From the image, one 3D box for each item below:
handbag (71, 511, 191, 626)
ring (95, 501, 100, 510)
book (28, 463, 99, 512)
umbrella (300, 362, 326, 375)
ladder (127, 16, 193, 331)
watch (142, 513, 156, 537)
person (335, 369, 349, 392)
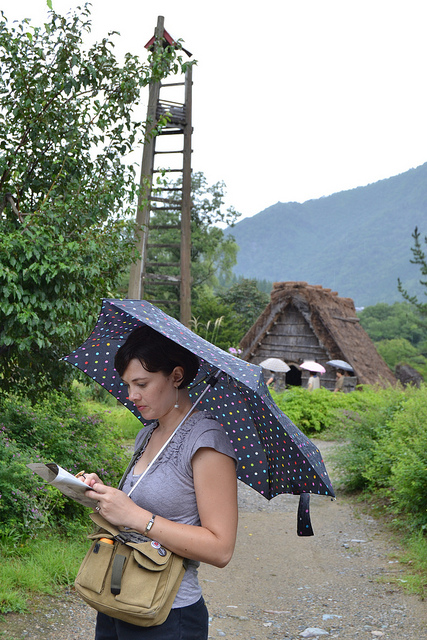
[{"bbox_3d":[-0.251,0.707,1.691,0.309,0.330,0.194,13,-35,7],"label":"handbag"},{"bbox_3d":[-0.347,0.564,1.722,0.012,0.016,0.007,7,-3,43],"label":"ring"},{"bbox_3d":[-0.416,0.460,1.622,0.159,0.053,0.226,21,-17,32],"label":"book"},{"bbox_3d":[3.111,1.434,17.471,0.447,0.137,0.432,19,-9,-3],"label":"umbrella"},{"bbox_3d":[-1.216,-3.468,14.749,1.454,7.133,1.499,9,21,7],"label":"ladder"},{"bbox_3d":[-0.178,0.584,1.628,0.045,0.054,0.024,3,-9,-41],"label":"watch"},{"bbox_3d":[4.076,1.880,17.996,0.398,0.686,0.733,-4,-7,12],"label":"person"}]
